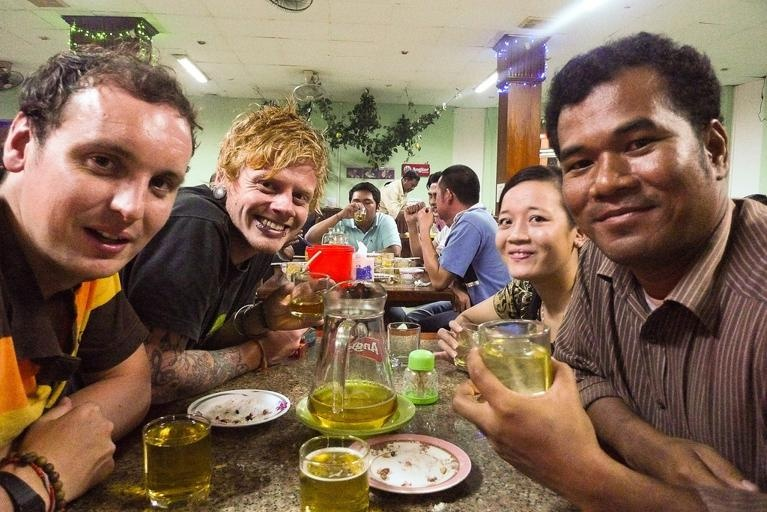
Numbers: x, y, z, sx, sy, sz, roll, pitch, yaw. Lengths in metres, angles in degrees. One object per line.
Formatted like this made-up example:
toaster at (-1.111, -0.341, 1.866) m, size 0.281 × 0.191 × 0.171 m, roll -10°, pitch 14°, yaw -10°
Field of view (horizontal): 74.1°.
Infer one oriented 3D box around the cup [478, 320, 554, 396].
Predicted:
cup at (0.356, 0.267, 1.428) m, size 0.207 × 0.177 × 0.194 m, roll -4°, pitch 5°, yaw 0°

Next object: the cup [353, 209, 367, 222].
cup at (-0.268, -0.465, 5.845) m, size 0.122 × 0.127 × 0.137 m, roll 2°, pitch 11°, yaw 0°

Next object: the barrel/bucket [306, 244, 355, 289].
barrel/bucket at (-0.279, 0.046, 2.506) m, size 0.229 × 0.143 × 0.213 m, roll -1°, pitch 3°, yaw 0°

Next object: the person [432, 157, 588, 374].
person at (0.861, -0.023, 2.677) m, size 1.009 × 1.016 × 0.853 m, roll -4°, pitch 4°, yaw -3°

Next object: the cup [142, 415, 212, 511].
cup at (-0.537, 0.543, 1.424) m, size 0.235 × 0.217 × 0.213 m, roll -3°, pitch 10°, yaw -22°

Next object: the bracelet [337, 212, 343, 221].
bracelet at (-0.499, -0.457, 5.966) m, size 0.101 × 0.086 × 0.025 m, roll 20°, pitch 14°, yaw 19°
